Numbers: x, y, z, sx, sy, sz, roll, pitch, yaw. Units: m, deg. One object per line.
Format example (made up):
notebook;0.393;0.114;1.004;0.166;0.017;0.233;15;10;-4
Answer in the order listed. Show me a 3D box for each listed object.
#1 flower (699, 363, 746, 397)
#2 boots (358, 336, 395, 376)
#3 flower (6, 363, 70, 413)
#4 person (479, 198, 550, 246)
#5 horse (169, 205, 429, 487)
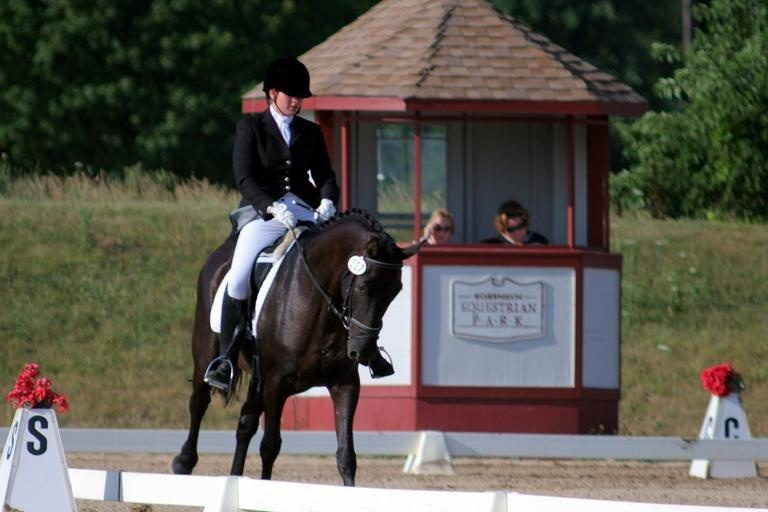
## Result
flower;5.998;2.260;31.230;0.556;0.407;0.750;-1;-10;3
boots;-0.090;1.739;28.305;0.643;0.778;0.417;-8;6;-25
flower;-5.646;2.192;28.153;0.878;0.804;0.595;-3;7;-7
person;2.468;-1.047;32.560;1.362;1.108;0.718;-1;-8;-10
horse;-1.693;1.666;29.399;1.663;5.099;6.553;1;0;-32
